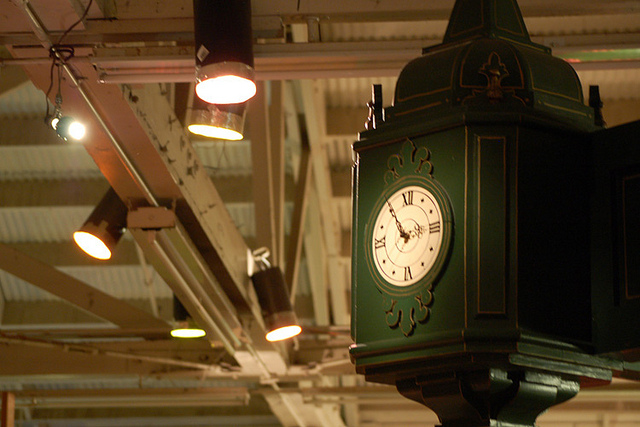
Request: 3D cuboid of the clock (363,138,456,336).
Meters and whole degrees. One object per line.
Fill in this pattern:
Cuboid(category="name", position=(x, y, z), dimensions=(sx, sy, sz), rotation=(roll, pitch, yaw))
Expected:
Cuboid(category="clock", position=(0.785, 0.198, 10.844), dimensions=(0.566, 1.458, 0.829), rotation=(15, -37, -20))

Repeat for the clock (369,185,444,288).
Cuboid(category="clock", position=(0.766, 0.218, 10.822), dimensions=(0.760, 1.036, 0.076), rotation=(-3, -15, 24))
